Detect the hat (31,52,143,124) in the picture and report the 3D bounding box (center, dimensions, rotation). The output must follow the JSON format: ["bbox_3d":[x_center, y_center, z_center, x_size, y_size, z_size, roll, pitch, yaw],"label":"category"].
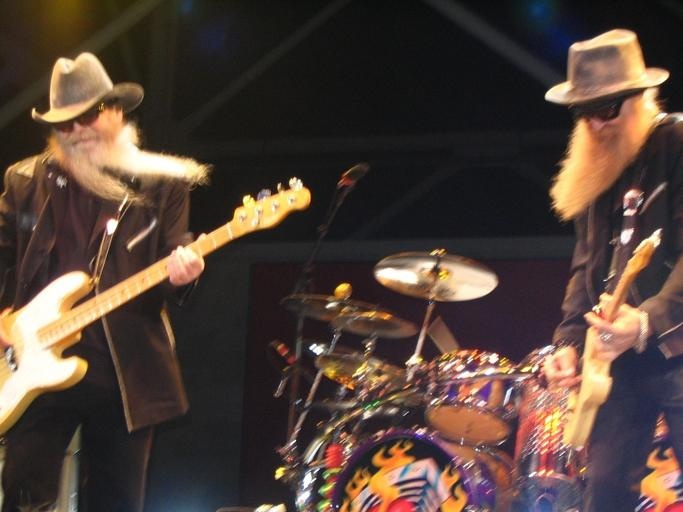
[{"bbox_3d":[-1.227,-0.767,3.649,0.349,0.176,0.411,-23,-9,12],"label":"hat"}]

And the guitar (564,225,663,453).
[{"bbox_3d":[1.027,0.283,2.851,0.308,0.893,0.409,-1,-17,35],"label":"guitar"}]

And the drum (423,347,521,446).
[{"bbox_3d":[0.510,0.554,2.991,0.368,0.269,0.364,8,-35,6],"label":"drum"}]

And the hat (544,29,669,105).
[{"bbox_3d":[1.137,-0.778,3.239,0.353,0.157,0.318,-19,17,-16],"label":"hat"}]

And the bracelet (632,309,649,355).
[{"bbox_3d":[1.161,0.299,2.935,0.032,0.120,0.093,3,0,8],"label":"bracelet"}]

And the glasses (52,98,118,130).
[{"bbox_3d":[-1.211,-0.647,3.618,0.188,0.062,0.183,-18,0,-20],"label":"glasses"}]

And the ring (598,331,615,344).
[{"bbox_3d":[0.999,0.310,2.871,0.042,0.042,0.014,-3,10,-5],"label":"ring"}]
